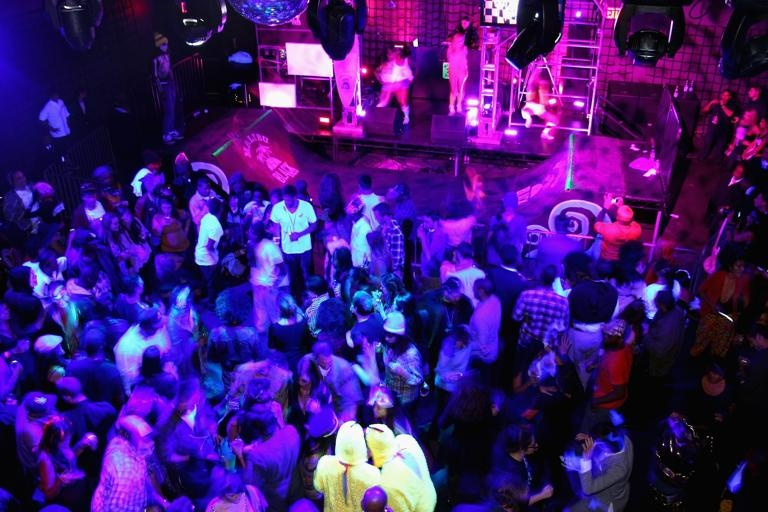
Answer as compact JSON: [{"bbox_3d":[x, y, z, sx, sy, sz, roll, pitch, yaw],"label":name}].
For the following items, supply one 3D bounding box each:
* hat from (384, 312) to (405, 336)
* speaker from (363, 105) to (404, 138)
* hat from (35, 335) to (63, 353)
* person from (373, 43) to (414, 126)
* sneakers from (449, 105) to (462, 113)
[{"bbox_3d":[0.107,0.700,6.502,0.233,0.244,0.160,5,12,1],"label":"hat"},{"bbox_3d":[-0.048,-2.838,13.192,0.837,0.649,0.606,6,-32,9],"label":"speaker"},{"bbox_3d":[-3.767,0.976,6.967,0.261,0.171,0.148,2,12,-11],"label":"hat"},{"bbox_3d":[0.211,-3.741,13.576,0.964,1.975,0.650,-1,44,-4],"label":"person"},{"bbox_3d":[1.505,-3.212,13.748,0.311,0.113,0.231,13,-9,13],"label":"sneakers"}]
